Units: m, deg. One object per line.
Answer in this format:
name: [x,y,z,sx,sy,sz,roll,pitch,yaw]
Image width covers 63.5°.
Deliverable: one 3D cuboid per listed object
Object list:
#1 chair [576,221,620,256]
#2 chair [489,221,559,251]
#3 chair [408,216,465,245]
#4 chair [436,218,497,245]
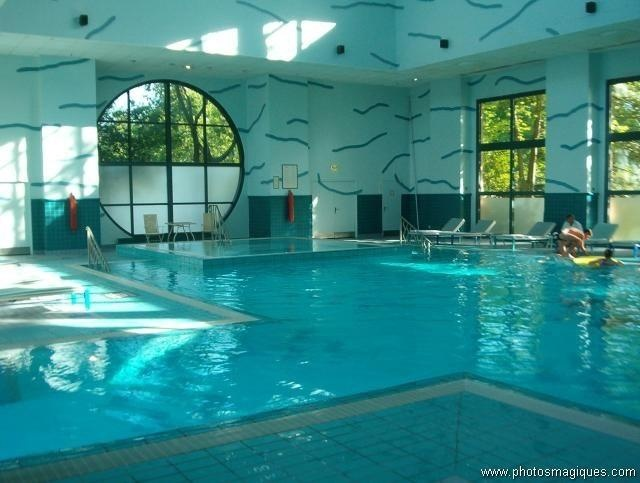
chair: [6.946,-0.072,13.256,1.495,0.941,0.789,0,2,-37]
chair: [5.919,-0.163,14.403,1.745,0.595,0.852,0,1,-26]
chair: [3.531,-0.330,16.205,1.911,0.831,0.914,2,0,-26]
chair: [4.703,-0.270,16.002,1.905,0.655,0.917,0,0,-23]
